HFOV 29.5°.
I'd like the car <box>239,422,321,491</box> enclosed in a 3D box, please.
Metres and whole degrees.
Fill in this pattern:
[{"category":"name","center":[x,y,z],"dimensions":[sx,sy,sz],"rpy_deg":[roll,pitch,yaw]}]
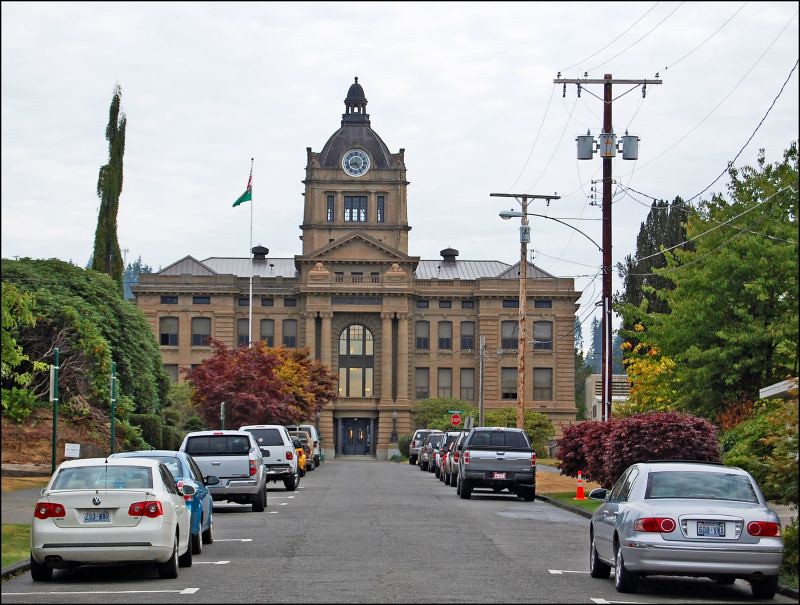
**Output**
[{"category":"car","center":[-3.850,5.058,49.071],"dimensions":[1.542,1.442,3.078],"rpy_deg":[0,-10,3]}]

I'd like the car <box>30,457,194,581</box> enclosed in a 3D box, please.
[{"category":"car","center":[-5.199,3.883,27.151],"dimensions":[2.749,2.167,1.297],"rpy_deg":[1,-5,-15]}]
